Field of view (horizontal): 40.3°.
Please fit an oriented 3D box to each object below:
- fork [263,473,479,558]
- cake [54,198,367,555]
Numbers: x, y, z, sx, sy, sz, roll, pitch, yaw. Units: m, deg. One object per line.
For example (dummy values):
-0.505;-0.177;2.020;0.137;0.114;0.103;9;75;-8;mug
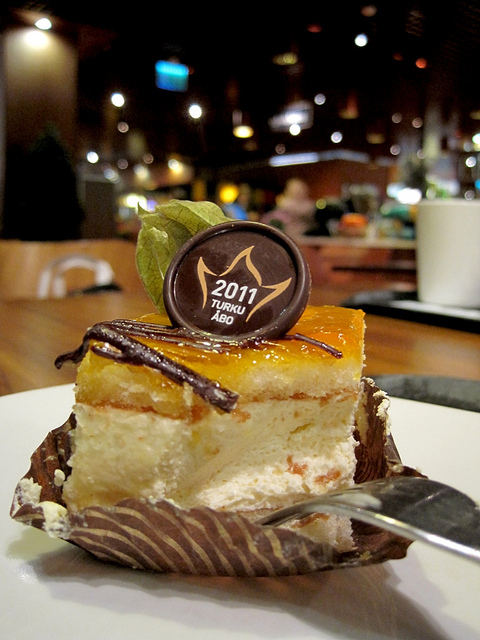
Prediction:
0.099;0.169;0.613;0.050;0.035;0.240;-7;1;-39;fork
-0.008;0.033;0.802;0.417;0.318;0.373;-3;8;-17;cake
